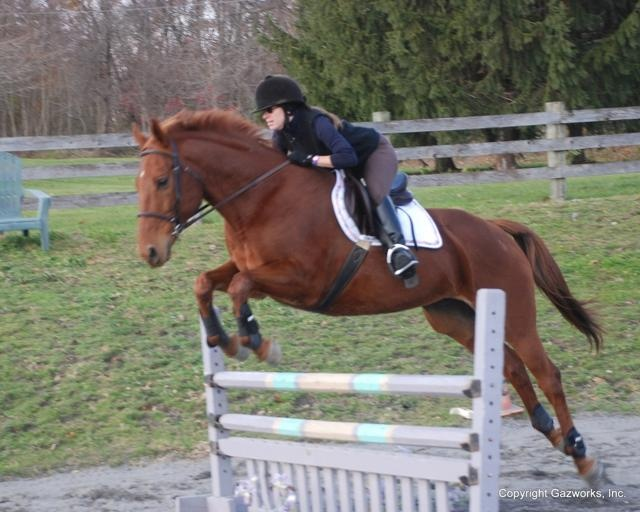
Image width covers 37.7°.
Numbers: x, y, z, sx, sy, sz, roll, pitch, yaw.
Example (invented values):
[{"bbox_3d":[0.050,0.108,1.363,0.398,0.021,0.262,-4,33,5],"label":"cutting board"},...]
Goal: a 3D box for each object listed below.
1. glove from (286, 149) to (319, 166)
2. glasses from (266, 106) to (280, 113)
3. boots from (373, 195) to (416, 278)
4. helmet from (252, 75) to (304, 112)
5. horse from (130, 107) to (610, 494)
[{"bbox_3d":[-0.158,-0.857,8.239,0.135,0.080,0.366,-33,31,-29],"label":"glove"},{"bbox_3d":[-0.409,-1.273,8.115,0.063,0.016,0.059,-16,20,19],"label":"glasses"},{"bbox_3d":[0.619,-0.169,8.161,0.239,0.781,0.243,9,-45,-26],"label":"boots"},{"bbox_3d":[-0.344,-1.428,8.157,0.419,0.196,0.305,-12,18,6],"label":"helmet"},{"bbox_3d":[0.502,0.408,8.646,4.841,2.606,0.941,6,-5,-22],"label":"horse"}]
